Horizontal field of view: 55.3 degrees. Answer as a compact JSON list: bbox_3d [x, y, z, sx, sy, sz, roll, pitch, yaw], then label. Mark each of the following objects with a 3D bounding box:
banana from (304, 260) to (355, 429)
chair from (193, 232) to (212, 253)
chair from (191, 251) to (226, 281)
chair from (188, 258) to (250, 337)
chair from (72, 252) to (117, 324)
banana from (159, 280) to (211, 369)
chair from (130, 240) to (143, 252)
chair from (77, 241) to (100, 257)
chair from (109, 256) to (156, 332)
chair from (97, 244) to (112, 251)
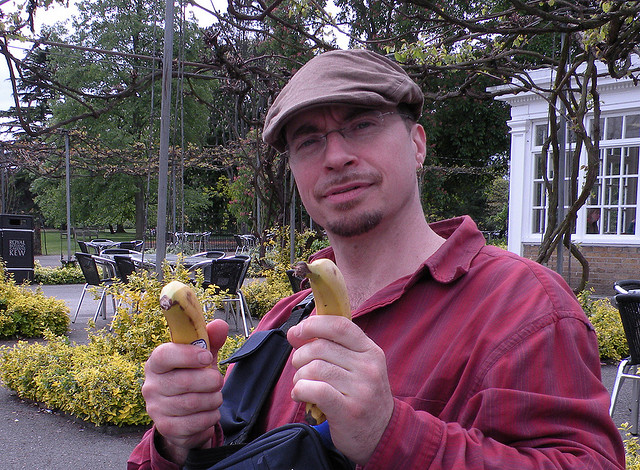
[{"bbox_3d":[0.005,0.335,2.653,0.182,0.255,0.698,-15,21,1],"label":"banana"},{"bbox_3d":[-5.140,0.342,27.049,0.916,1.364,1.001,3,-1,-14],"label":"chair"},{"bbox_3d":[-1.906,0.488,10.764,0.464,0.558,0.573,-8,-20,20],"label":"chair"},{"bbox_3d":[-1.360,0.898,8.936,0.700,1.185,0.884,3,-7,-4],"label":"chair"},{"bbox_3d":[-3.613,0.866,10.003,0.744,1.168,0.723,4,1,39],"label":"chair"},{"bbox_3d":[-0.606,0.382,2.818,0.104,0.443,0.130,-19,19,-6],"label":"banana"},{"bbox_3d":[-4.351,0.280,14.464,0.308,0.364,0.256,5,5,-12],"label":"chair"},{"bbox_3d":[-5.543,0.338,14.692,0.306,0.491,0.254,-7,12,-19],"label":"chair"},{"bbox_3d":[-2.775,0.832,9.071,0.744,0.931,0.720,2,-2,-41],"label":"chair"},{"bbox_3d":[-5.441,0.311,15.412,0.334,0.182,0.476,7,-13,-33],"label":"chair"}]
